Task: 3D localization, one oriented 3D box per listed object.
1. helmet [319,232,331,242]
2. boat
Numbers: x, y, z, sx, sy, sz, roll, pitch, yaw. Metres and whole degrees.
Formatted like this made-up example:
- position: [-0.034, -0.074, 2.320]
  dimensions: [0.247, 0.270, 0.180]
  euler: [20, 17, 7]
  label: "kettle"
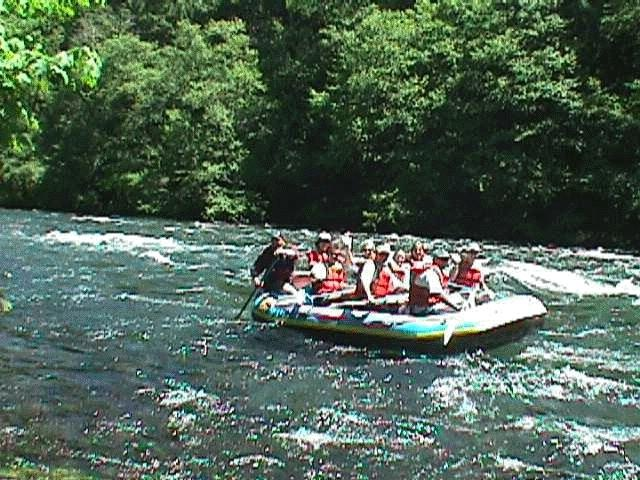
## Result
- position: [0.109, -0.046, 11.774]
  dimensions: [0.206, 0.163, 0.207]
  euler: [1, -3, -33]
  label: "helmet"
- position: [1.342, 1.659, 10.252]
  dimensions: [3.369, 0.765, 2.142]
  euler: [-1, -1, 30]
  label: "boat"
